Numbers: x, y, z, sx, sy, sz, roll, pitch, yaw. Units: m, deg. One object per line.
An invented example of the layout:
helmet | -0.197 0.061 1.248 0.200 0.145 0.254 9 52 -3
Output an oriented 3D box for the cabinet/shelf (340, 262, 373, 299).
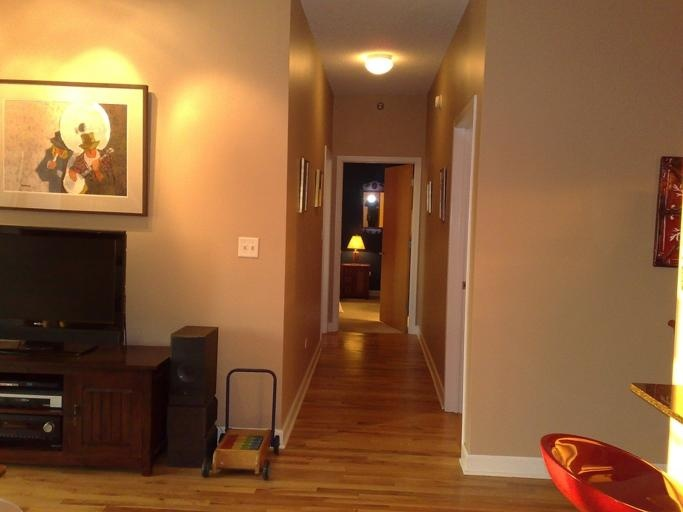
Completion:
cabinet/shelf | 0.185 0.415 10.596 0.822 0.858 0.506 0 1 -2

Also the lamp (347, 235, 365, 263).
lamp | 0.264 -0.139 10.579 0.404 0.704 0.430 -1 6 -4
